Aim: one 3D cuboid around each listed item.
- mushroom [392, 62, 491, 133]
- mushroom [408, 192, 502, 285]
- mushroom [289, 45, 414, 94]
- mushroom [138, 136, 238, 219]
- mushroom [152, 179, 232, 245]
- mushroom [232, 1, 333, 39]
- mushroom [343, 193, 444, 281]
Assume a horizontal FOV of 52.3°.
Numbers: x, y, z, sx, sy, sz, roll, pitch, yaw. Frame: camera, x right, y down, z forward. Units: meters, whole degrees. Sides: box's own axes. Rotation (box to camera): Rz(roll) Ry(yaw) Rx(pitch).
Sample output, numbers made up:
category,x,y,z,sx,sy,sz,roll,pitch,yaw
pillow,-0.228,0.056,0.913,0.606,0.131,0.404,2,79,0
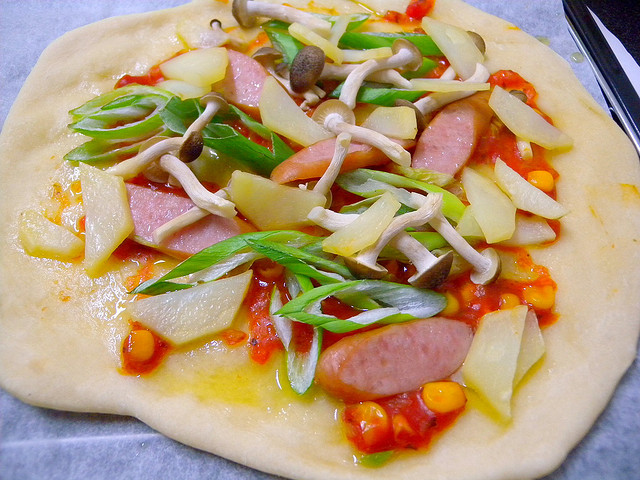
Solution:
category,x,y,z,sx,sy,sz,roll,pitch,yaw
mushroom,0.437,-0.492,2.300,0.417,0.146,0.164,-25,18,1
mushroom,0.404,0.003,2.056,0.370,0.131,0.108,35,15,-15
mushroom,0.118,-0.569,2.293,0.466,0.167,0.109,4,-36,3
mushroom,-0.433,-0.173,2.234,0.408,0.200,0.122,44,8,20
mushroom,-0.410,-0.078,2.118,0.313,0.059,0.066,-36,-11,-7
mushroom,-0.121,-0.819,2.501,0.380,0.135,0.166,13,42,17
mushroom,0.274,-0.039,2.030,0.184,0.146,0.394,-26,2,35
